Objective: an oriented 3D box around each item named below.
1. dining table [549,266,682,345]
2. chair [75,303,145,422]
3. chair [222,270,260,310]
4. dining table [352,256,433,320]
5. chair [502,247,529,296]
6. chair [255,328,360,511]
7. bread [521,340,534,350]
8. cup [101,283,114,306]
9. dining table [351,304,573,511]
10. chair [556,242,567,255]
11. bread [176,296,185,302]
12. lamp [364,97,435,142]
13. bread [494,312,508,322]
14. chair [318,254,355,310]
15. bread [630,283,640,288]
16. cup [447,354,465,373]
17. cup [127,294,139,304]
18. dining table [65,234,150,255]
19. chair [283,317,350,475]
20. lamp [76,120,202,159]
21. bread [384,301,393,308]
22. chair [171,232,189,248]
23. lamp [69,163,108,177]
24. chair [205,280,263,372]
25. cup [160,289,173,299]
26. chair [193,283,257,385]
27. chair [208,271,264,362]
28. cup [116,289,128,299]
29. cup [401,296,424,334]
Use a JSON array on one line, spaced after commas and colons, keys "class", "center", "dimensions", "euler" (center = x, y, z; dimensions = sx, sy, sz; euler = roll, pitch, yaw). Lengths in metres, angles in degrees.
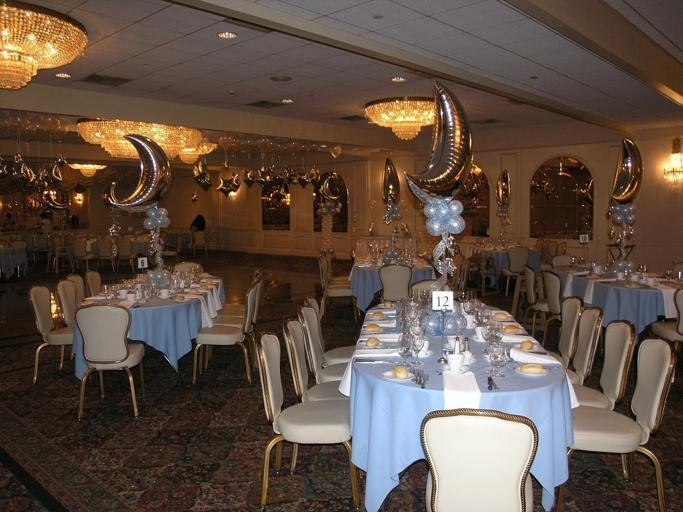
[{"class": "dining table", "center": [3.491, 0.501, 6.597], "dimensions": [1.053, 0.396, 1.698], "euler": [-1, 2, -11]}, {"class": "chair", "center": [-2.271, 0.987, 4.787], "dimensions": [0.558, 1.113, 0.381], "euler": [-2, 6, -13]}, {"class": "chair", "center": [-1.963, 0.624, 9.305], "dimensions": [0.638, 1.011, 0.580], "euler": [5, 7, -1]}, {"class": "dining table", "center": [0.811, 0.496, 8.419], "dimensions": [0.910, 1.549, 1.039], "euler": [1, 12, 6]}, {"class": "chair", "center": [3.489, 0.286, 10.198], "dimensions": [0.506, 1.015, 0.772], "euler": [2, 6, 17]}, {"class": "chair", "center": [-0.264, 1.161, 3.654], "dimensions": [0.728, 1.203, 0.718], "euler": [-1, 6, -3]}, {"class": "bread", "center": [1.365, 0.667, 3.734], "dimensions": [0.072, 0.040, 0.072], "euler": [-5, 7, 8]}, {"class": "cup", "center": [-2.691, 0.441, 5.655], "dimensions": [0.174, 0.276, 0.183], "euler": [1, 1, 0]}, {"class": "dining table", "center": [0.702, 0.991, 3.128], "dimensions": [1.267, 0.474, 2.070], "euler": [-1, -7, 1]}, {"class": "chair", "center": [4.856, -0.213, 11.176], "dimensions": [0.172, 0.281, 0.623], "euler": [3, 6, 28]}, {"class": "bread", "center": [-1.847, 0.476, 5.608], "dimensions": [0.072, 0.016, 0.070], "euler": [5, 15, 6]}, {"class": "lamp", "center": [1.083, -2.479, 9.242], "dimensions": [1.308, 0.559, 1.288], "euler": [-1, -4, -21]}, {"class": "bread", "center": [1.431, 0.549, 4.573], "dimensions": [0.106, 0.033, 0.105], "euler": [-1, 3, 31]}, {"class": "chair", "center": [-0.114, 0.430, 8.636], "dimensions": [0.682, 1.055, 0.711], "euler": [0, 12, 12]}, {"class": "bread", "center": [3.678, 0.365, 6.327], "dimensions": [0.085, 0.025, 0.138], "euler": [4, 1, 20]}, {"class": "cup", "center": [0.730, 0.712, 3.296], "dimensions": [0.122, 0.094, 0.099], "euler": [-9, 13, -19]}, {"class": "cup", "center": [-2.357, 0.473, 5.524], "dimensions": [0.133, 0.105, 0.107], "euler": [-13, 26, -36]}, {"class": "dining table", "center": [-6.946, -0.363, 14.869], "dimensions": [1.379, 0.322, 1.322], "euler": [0, -1, 10]}, {"class": "chair", "center": [-0.156, 1.064, 4.013], "dimensions": [0.627, 0.955, 0.568], "euler": [0, 11, 14]}, {"class": "lamp", "center": [-4.308, -2.445, 10.428], "dimensions": [2.313, 0.548, 2.421], "euler": [14, 14, 22]}, {"class": "bread", "center": [0.463, 0.507, 5.209], "dimensions": [0.065, 0.038, 0.064], "euler": [-7, 6, -30]}, {"class": "chair", "center": [-6.368, -0.666, 19.249], "dimensions": [0.716, 0.518, 0.697], "euler": [-4, 21, -14]}, {"class": "lamp", "center": [-9.534, -3.229, 18.570], "dimensions": [1.238, 0.420, 0.529], "euler": [-2, 6, -25]}, {"class": "chair", "center": [-1.391, 0.878, 5.804], "dimensions": [0.693, 0.996, 0.617], "euler": [0, 1, -14]}, {"class": "cup", "center": [-2.034, 0.432, 5.694], "dimensions": [0.119, 0.088, 0.090], "euler": [2, 2, -9]}, {"class": "chair", "center": [-1.385, 0.892, 5.802], "dimensions": [0.682, 1.011, 0.601], "euler": [0, 3, 4]}, {"class": "chair", "center": [-1.449, 0.931, 6.044], "dimensions": [0.686, 1.028, 0.632], "euler": [-7, 5, -24]}, {"class": "cup", "center": [-2.540, 0.436, 5.702], "dimensions": [0.139, 0.101, 0.105], "euler": [-3, 13, -17]}, {"class": "cup", "center": [0.530, 0.476, 3.921], "dimensions": [0.191, 0.301, 0.186], "euler": [-2, 19, 1]}]
